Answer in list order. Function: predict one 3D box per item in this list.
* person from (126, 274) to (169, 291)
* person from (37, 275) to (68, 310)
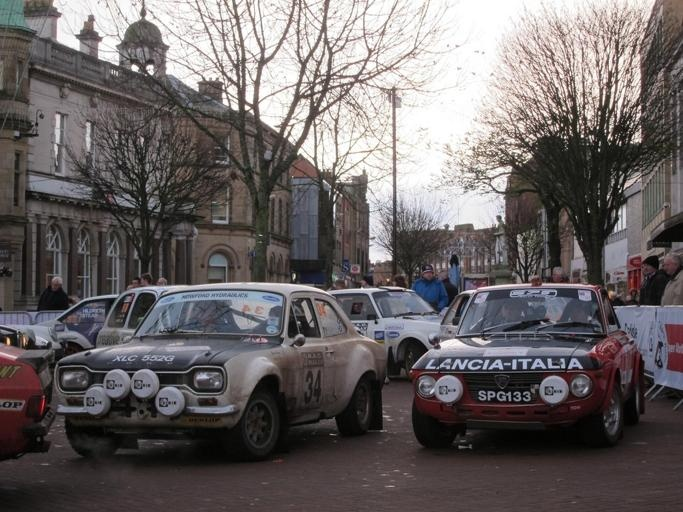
[{"bbox_3d":[-6.168,0.800,27.420,1.142,0.406,0.722,-1,0,35],"label":"person"},{"bbox_3d":[-9.580,1.203,28.991,0.821,1.692,0.499,7,11,3],"label":"person"}]
